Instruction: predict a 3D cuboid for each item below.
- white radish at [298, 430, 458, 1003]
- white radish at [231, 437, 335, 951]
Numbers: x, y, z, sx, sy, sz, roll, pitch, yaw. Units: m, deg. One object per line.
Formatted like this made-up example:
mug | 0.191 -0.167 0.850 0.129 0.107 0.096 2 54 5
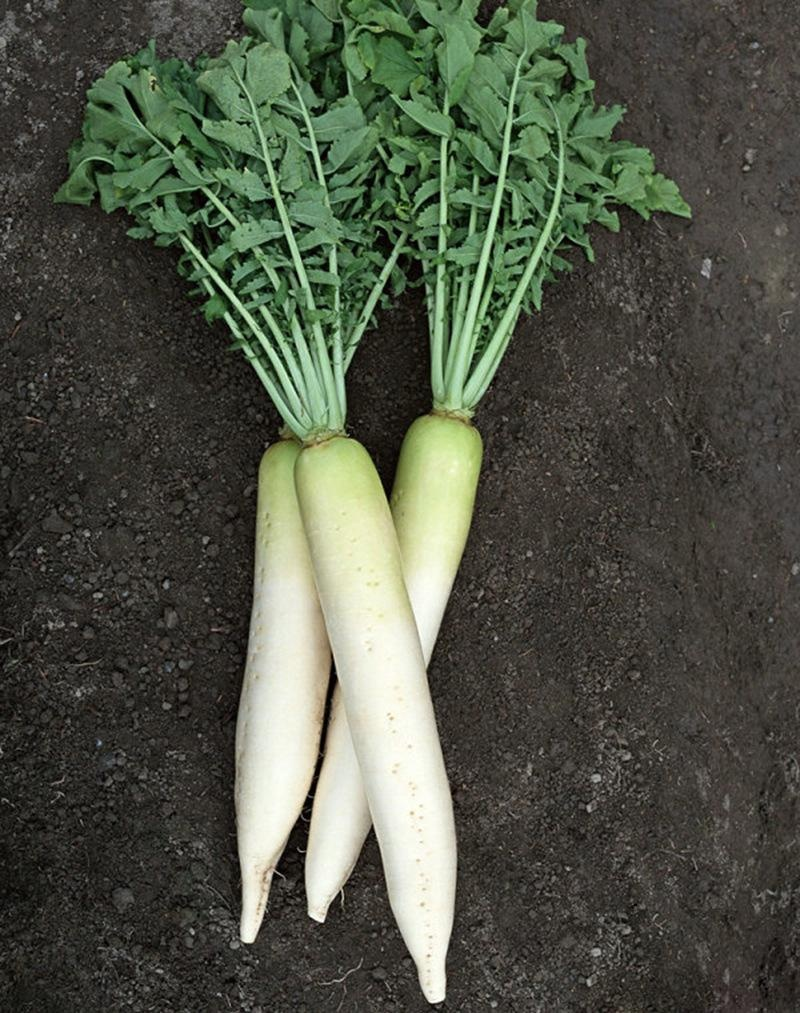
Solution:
white radish | -0.066 0.127 1.833 0.175 0.165 0.951 -2 29 -8
white radish | -0.203 0.344 1.869 0.187 0.896 0.172 4 1 34
